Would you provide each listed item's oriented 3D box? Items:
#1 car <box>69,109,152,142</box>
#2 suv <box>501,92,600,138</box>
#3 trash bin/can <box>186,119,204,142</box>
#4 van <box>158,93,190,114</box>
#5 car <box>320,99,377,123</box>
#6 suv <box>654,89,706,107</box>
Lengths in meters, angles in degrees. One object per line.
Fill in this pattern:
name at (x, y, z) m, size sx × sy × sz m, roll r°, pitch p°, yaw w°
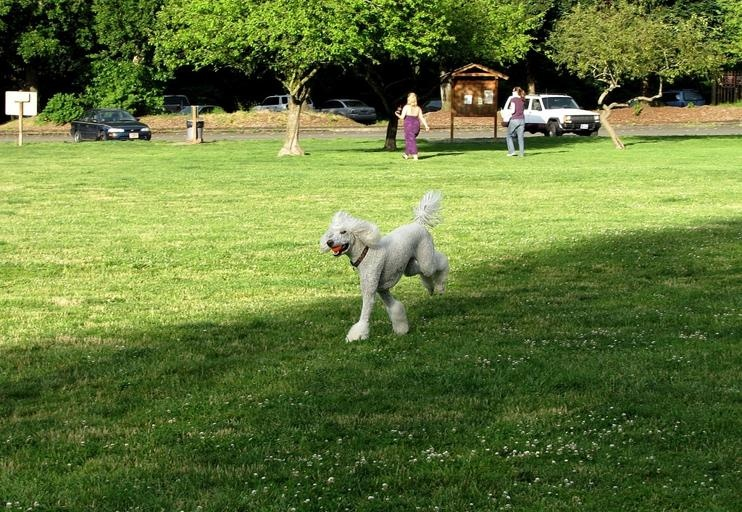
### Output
car at (-11.573, -5.874, 52.388) m, size 2.120 × 1.285 × 3.830 m, roll -12°, pitch 18°, yaw -41°
suv at (8.081, -6.181, 50.860) m, size 2.030 × 1.731 × 3.958 m, roll -5°, pitch 7°, yaw -33°
trash bin/can at (-7.529, -5.479, 50.464) m, size 0.554 × 0.952 × 1.664 m, roll -4°, pitch 14°, yaw -16°
van at (-11.284, -8.928, 67.682) m, size 1.939 × 0.883 × 1.078 m, roll -1°, pitch 14°, yaw 6°
car at (-1.149, -8.408, 67.681) m, size 3.085 × 1.274 × 3.941 m, roll -1°, pitch 13°, yaw -3°
suv at (17.887, -9.185, 67.578) m, size 2.374 × 1.145 × 1.303 m, roll 4°, pitch 11°, yaw 7°
